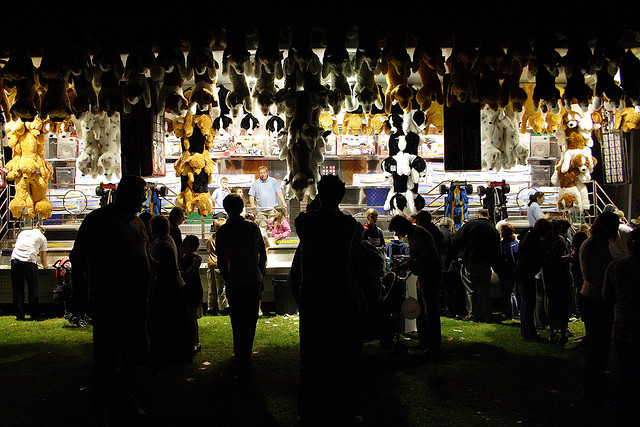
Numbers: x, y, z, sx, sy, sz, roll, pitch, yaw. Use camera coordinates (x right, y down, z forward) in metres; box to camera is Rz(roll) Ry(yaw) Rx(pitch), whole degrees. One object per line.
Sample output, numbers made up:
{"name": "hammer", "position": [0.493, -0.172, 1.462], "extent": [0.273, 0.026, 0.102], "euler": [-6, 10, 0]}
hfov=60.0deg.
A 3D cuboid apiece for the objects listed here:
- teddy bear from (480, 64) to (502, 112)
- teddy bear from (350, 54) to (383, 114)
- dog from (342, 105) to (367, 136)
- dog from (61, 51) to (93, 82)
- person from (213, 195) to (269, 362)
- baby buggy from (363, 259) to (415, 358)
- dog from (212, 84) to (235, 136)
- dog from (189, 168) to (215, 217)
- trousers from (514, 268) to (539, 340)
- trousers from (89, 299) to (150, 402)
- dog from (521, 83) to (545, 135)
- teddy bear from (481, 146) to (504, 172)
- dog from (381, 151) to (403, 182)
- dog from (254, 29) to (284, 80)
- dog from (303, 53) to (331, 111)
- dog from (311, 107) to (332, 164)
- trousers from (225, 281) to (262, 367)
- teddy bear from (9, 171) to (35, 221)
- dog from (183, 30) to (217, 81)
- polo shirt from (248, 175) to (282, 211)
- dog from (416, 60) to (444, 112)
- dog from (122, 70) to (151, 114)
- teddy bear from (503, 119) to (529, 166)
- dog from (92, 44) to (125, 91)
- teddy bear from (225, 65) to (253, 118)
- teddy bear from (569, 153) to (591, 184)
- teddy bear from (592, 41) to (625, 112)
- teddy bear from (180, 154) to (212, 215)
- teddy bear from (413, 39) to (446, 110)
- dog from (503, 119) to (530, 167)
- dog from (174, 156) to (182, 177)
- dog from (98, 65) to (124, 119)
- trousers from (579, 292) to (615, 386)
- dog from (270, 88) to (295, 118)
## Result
{"name": "teddy bear", "position": [1.929, -1.358, 6.069], "extent": [0.148, 0.543, 0.306], "euler": [1, -16, 8]}
{"name": "teddy bear", "position": [0.529, -1.463, 6.343], "extent": [0.296, 0.689, 0.341], "euler": [0, -29, 4]}
{"name": "dog", "position": [0.445, -1.094, 6.870], "extent": [0.333, 0.135, 0.430], "euler": [-2, -19, -5]}
{"name": "dog", "position": [-2.525, -1.514, 5.721], "extent": [0.240, 0.286, 0.114], "euler": [2, 13, -5]}
{"name": "person", "position": [-0.897, 0.758, 6.353], "extent": [0.567, 1.932, 0.447], "euler": [-1, 5, -8]}
{"name": "baby buggy", "position": [0.725, 1.055, 6.713], "extent": [0.897, 1.105, 0.758], "euler": [1, 5, 4]}
{"name": "dog", "position": [-1.155, -1.245, 6.572], "extent": [0.261, 0.744, 0.371], "euler": [-1, 12, -1]}
{"name": "dog", "position": [-1.523, -0.316, 7.075], "extent": [0.377, 0.654, 0.418], "euler": [-3, 14, -15]}
{"name": "trousers", "position": [2.931, 1.253, 7.849], "extent": [0.344, 1.016, 0.361], "euler": [1, 5, 19]}
{"name": "trousers", "position": [-1.910, 1.339, 5.301], "extent": [0.513, 1.062, 0.192], "euler": [-2, 6, -21]}
{"name": "dog", "position": [2.496, -1.246, 6.499], "extent": [0.214, 0.581, 0.330], "euler": [-2, -9, 10]}
{"name": "teddy bear", "position": [2.080, -0.660, 6.759], "extent": [0.257, 0.304, 0.093], "euler": [3, 20, -1]}
{"name": "dog", "position": [0.886, -0.590, 6.958], "extent": [0.354, 0.370, 0.161], "euler": [4, 7, 42]}
{"name": "dog", "position": [-0.544, -1.675, 5.825], "extent": [0.193, 0.578, 0.313], "euler": [-2, -8, -4]}
{"name": "dog", "position": [-0.037, -1.429, 6.119], "extent": [0.200, 0.632, 0.349], "euler": [-9, -38, 3]}
{"name": "dog", "position": [0.061, -0.796, 6.276], "extent": [0.268, 0.311, 0.562], "euler": [2, -25, 3]}
{"name": "trousers", "position": [-0.865, 1.253, 6.277], "extent": [0.375, 0.936, 0.228], "euler": [-1, 5, -8]}
{"name": "teddy bear", "position": [-4.037, -0.247, 7.534], "extent": [0.401, 0.643, 0.197], "euler": [1, 6, 20]}
{"name": "dog", "position": [-1.211, -1.612, 5.629], "extent": [0.209, 0.309, 0.591], "euler": [-3, 44, -9]}
{"name": "polo shirt", "position": [-1.090, -0.401, 11.062], "extent": [0.708, 0.635, 0.352], "euler": [-5, 12, -10]}
{"name": "dog", "position": [1.202, -1.396, 6.156], "extent": [0.313, 0.518, 0.222], "euler": [-14, 7, 16]}
{"name": "dog", "position": [-1.982, -1.316, 5.973], "extent": [0.181, 0.228, 0.524], "euler": [2, 34, -16]}
{"name": "teddy bear", "position": [2.348, -0.801, 6.688], "extent": [0.237, 0.596, 0.329], "euler": [-4, 19, 12]}
{"name": "dog", "position": [-2.282, -1.630, 6.000], "extent": [0.369, 0.245, 0.555], "euler": [8, -12, -16]}
{"name": "teddy bear", "position": [-0.889, -1.332, 6.235], "extent": [0.211, 0.602, 0.333], "euler": [-3, 0, -1]}
{"name": "teddy bear", "position": [3.860, -0.684, 8.234], "extent": [0.435, 0.444, 0.273], "euler": [-5, 0, -38]}
{"name": "teddy bear", "position": [3.013, -1.441, 5.772], "extent": [0.181, 0.625, 0.349], "euler": [-17, 13, 11]}
{"name": "teddy bear", "position": [-1.539, -0.363, 6.911], "extent": [0.403, 0.734, 0.346], "euler": [-3, 6, -22]}
{"name": "teddy bear", "position": [1.182, -1.495, 6.041], "extent": [0.328, 0.694, 0.463], "euler": [1, 5, 13]}
{"name": "dog", "position": [2.402, -0.815, 6.774], "extent": [0.230, 0.632, 0.267], "euler": [-4, 17, 9]}
{"name": "dog", "position": [-1.777, -0.579, 6.854], "extent": [0.076, 0.194, 0.146], "euler": [10, -2, 13]}
{"name": "dog", "position": [-2.247, -1.285, 6.039], "extent": [0.182, 0.598, 0.346], "euler": [-2, -4, -18]}
{"name": "trousers", "position": [2.824, 1.336, 5.680], "extent": [0.381, 0.934, 0.257], "euler": [7, -8, -9]}
{"name": "dog", "position": [-0.400, -1.213, 6.085], "extent": [0.219, 0.294, 0.154], "euler": [-2, 5, -19]}
